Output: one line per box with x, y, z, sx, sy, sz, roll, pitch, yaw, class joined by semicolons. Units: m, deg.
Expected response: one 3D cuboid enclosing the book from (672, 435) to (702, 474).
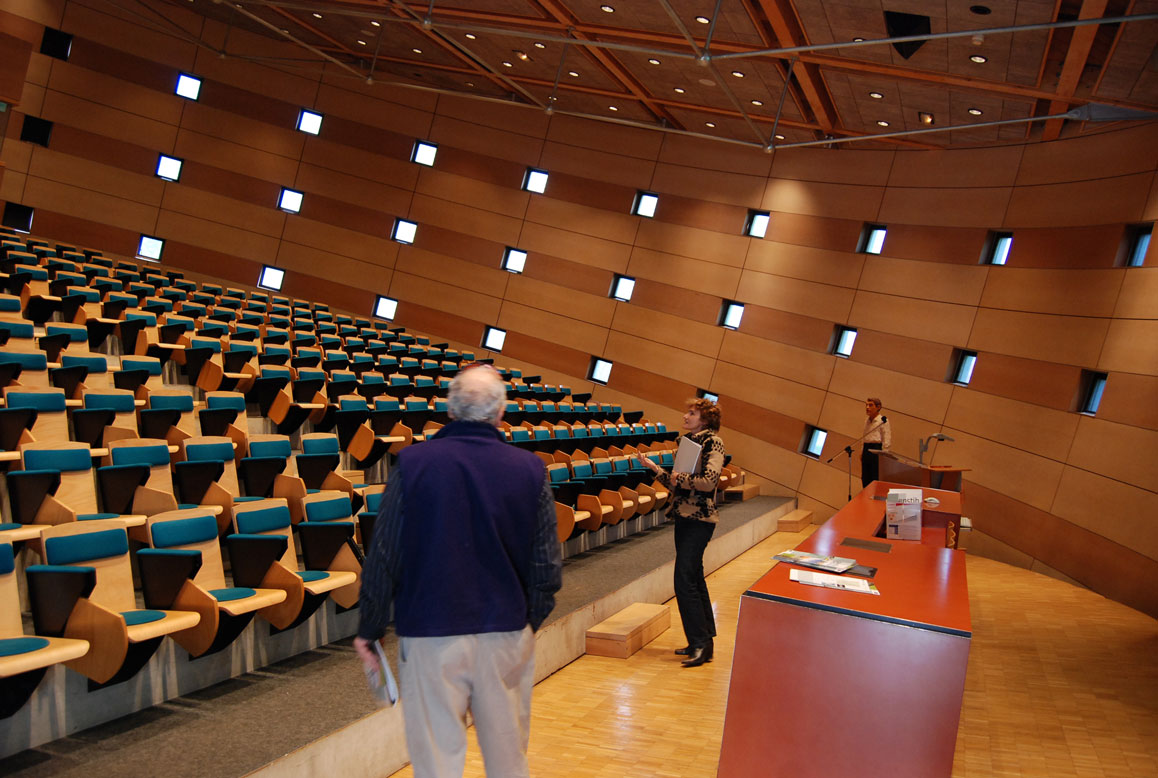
0.816;0.513;5.692;0.195;0.258;0.140;8;2;8;book

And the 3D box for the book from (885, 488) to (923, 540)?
2.319;0.914;5.570;0.294;0.352;0.214;2;2;-10;book

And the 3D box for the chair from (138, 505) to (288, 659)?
-2.139;1.154;4.475;0.770;0.758;0.704;2;-1;3;chair

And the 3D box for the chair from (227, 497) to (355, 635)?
-1.842;1.123;4.902;0.642;0.752;0.717;1;0;16;chair

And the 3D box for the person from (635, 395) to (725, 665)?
0.888;1.134;6.006;0.605;1.925;0.763;8;2;12;person
